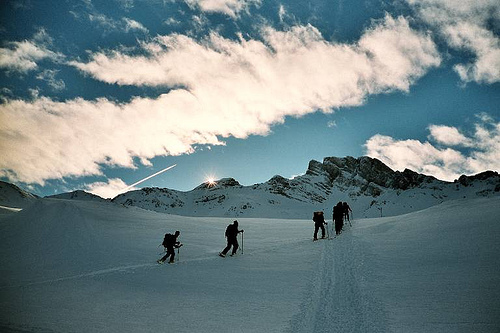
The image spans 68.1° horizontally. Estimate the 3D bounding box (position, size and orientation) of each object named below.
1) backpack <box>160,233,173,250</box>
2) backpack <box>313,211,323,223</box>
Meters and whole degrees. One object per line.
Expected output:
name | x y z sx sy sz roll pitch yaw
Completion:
backpack | -5.614 5.043 25.114 0.385 0.979 0.705 22 -26 -17
backpack | 5.453 4.006 29.654 0.934 0.728 0.338 7 -39 -7
